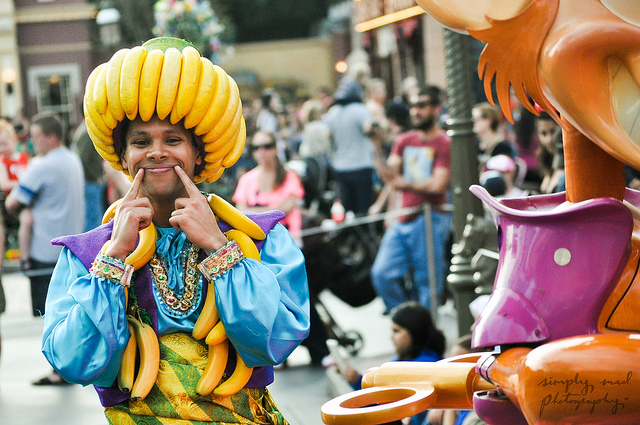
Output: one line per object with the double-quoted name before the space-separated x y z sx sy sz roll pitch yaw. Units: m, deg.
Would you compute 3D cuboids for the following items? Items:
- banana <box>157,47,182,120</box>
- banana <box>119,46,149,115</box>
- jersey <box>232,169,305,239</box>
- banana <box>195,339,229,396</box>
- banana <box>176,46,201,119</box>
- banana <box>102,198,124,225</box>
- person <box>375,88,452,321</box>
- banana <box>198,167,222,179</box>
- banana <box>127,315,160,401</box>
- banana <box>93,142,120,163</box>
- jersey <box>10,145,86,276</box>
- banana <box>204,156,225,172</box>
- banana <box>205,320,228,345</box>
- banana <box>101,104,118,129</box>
"banana" -0.965 -0.837 8.750 0.124 0.447 0.134 13 -11 -11
"banana" -1.197 -0.847 8.722 0.120 0.416 0.208 3 11 31
"jersey" -0.426 -0.078 11.440 0.610 0.554 0.330 -4 -10 6
"banana" -0.673 0.987 8.720 0.144 0.428 0.117 10 -20 34
"banana" -0.842 -0.833 8.721 0.130 0.442 0.146 7 -13 -10
"banana" -1.385 -0.014 8.938 0.052 0.159 0.157 35 -32 -1
"person" 0.890 -0.066 12.882 0.713 2.132 1.424 -2 9 5
"banana" -0.702 -0.249 8.928 0.157 0.049 0.101 -10 26 22
"banana" -1.128 0.906 8.682 0.194 0.488 0.230 -4 9 -8
"banana" -1.374 -0.375 8.857 0.228 0.078 0.065 32 -14 -20
"jersey" -2.514 -0.069 12.874 0.668 1.109 0.474 -10 12 -37
"banana" -0.705 -0.299 8.901 0.104 0.050 0.155 -32 0 -40
"banana" -0.648 0.772 8.687 0.214 0.065 0.064 -51 1 -30
"banana" -1.351 -0.618 8.711 0.077 0.140 0.047 -15 20 8
